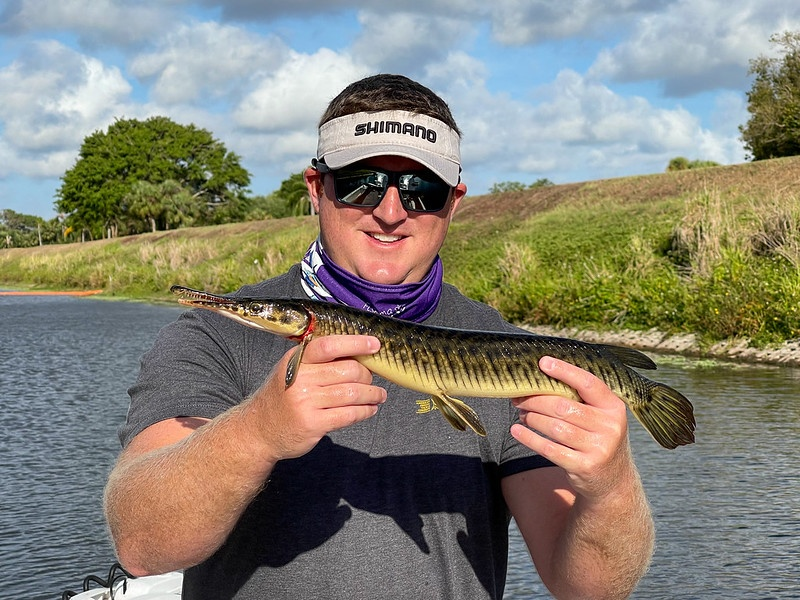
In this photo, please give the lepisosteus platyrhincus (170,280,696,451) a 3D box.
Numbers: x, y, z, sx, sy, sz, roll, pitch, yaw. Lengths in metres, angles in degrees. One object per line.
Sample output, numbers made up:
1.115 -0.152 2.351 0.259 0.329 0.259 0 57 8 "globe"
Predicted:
0.386 0.451 3.845 2.807 1.003 0.476 -2 5 -10 "lepisosteus platyrhincus"
